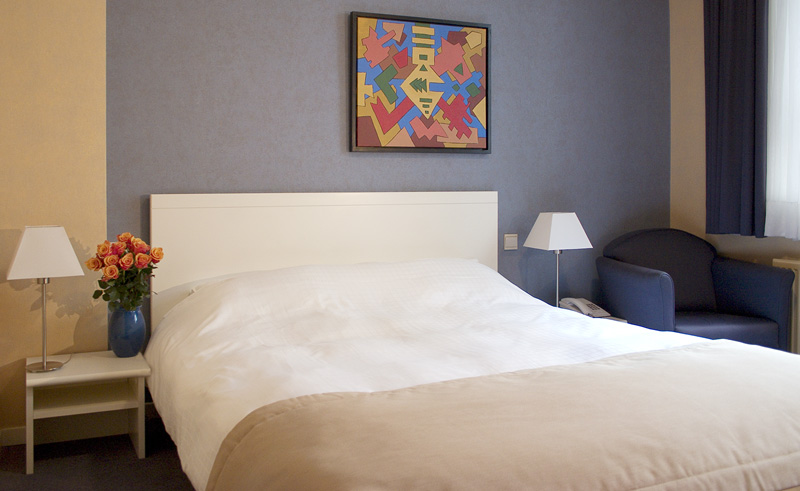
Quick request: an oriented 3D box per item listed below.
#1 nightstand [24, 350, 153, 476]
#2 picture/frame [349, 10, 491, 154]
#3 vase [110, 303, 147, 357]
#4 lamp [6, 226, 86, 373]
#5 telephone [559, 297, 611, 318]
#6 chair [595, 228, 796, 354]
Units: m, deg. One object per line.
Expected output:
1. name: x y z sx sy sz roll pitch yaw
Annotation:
1. nightstand: -2.147 1.046 4.026 0.694 0.597 0.547 2 11 -36
2. picture/frame: 0.116 -1.301 4.707 1.144 0.970 0.042 0 5 -19
3. vase: -1.873 0.563 4.087 0.249 0.341 0.259 1 9 -22
4. lamp: -2.282 0.322 3.917 0.401 0.912 0.434 -7 9 -28
5. telephone: 1.501 0.462 4.839 0.173 0.086 0.323 2 5 -25
6. chair: 2.360 0.408 4.945 0.961 1.238 1.080 1 -10 -11
